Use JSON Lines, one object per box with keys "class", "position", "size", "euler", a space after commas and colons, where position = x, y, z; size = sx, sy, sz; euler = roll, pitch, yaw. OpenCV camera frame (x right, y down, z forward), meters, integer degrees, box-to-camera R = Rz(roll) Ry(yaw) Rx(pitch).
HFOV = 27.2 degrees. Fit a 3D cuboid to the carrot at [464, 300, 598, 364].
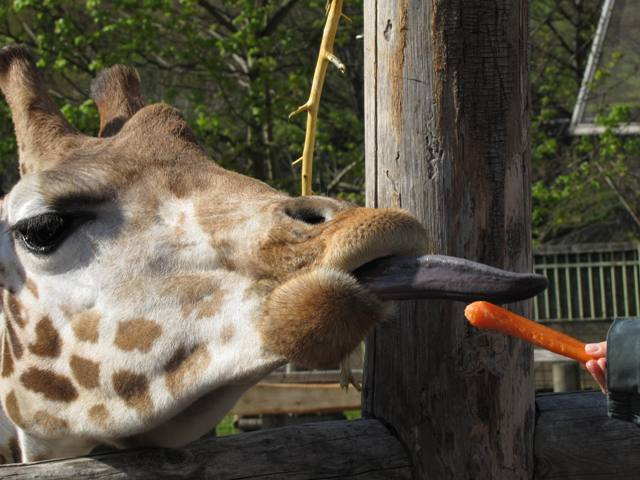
{"class": "carrot", "position": [0.932, 0.406, 5.753], "size": [0.605, 0.117, 0.115], "euler": [19, 32, -5]}
